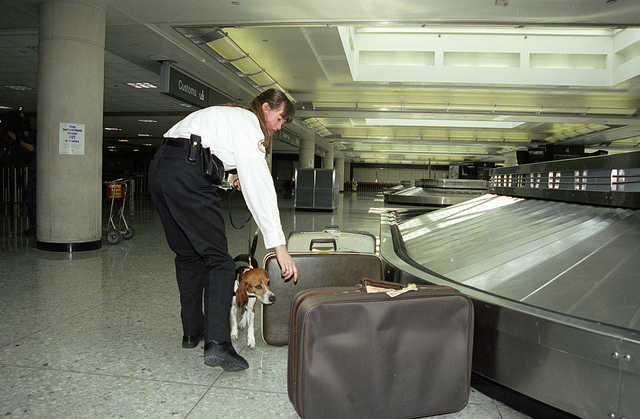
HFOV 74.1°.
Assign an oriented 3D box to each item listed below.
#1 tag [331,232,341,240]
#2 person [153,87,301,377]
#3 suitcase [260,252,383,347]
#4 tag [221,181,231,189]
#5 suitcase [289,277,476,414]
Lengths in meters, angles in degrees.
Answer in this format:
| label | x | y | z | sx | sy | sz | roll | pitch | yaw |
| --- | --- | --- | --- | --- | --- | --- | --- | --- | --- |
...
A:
| label | x | y | z | sx | sy | sz | roll | pitch | yaw |
| --- | --- | --- | --- | --- | --- | --- | --- | --- | --- |
| tag | 0.151 | 0.234 | 3.874 | 0.053 | 0.064 | 0.093 | 6 | 9 | 16 |
| person | -0.751 | 0.134 | 3.195 | 1.066 | 2.082 | 0.508 | 1 | 7 | 0 |
| suitcase | 0.021 | 0.707 | 3.555 | 1.126 | 0.785 | 0.350 | -1 | -5 | -14 |
| tag | -0.725 | -0.195 | 3.244 | 0.063 | 0.041 | 0.036 | -8 | 8 | -8 |
| suitcase | 0.390 | 0.869 | 2.627 | 1.003 | 0.646 | 0.296 | -1 | 7 | -9 |
